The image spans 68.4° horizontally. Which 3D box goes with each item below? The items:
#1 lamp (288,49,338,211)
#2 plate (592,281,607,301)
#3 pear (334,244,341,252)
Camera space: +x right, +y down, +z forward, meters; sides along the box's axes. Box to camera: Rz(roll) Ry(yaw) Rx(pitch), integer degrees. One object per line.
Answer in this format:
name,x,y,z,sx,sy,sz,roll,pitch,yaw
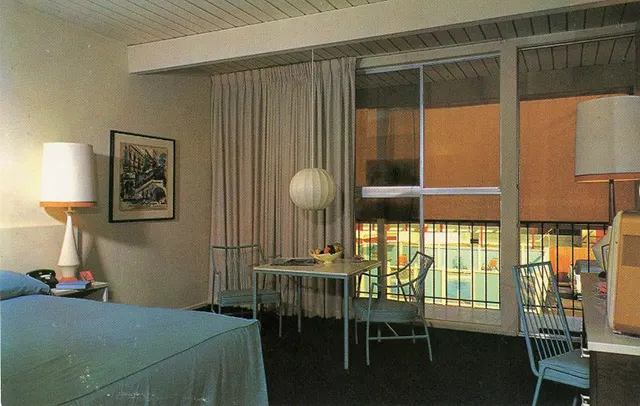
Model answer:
lamp,-0.087,-0.860,5.794,0.555,2.021,1.096,-1,9,0
plate,2.150,0.681,3.644,0.041,0.133,0.104,4,2,10
pear,0.192,0.511,5.432,0.061,0.075,0.079,2,-5,3
